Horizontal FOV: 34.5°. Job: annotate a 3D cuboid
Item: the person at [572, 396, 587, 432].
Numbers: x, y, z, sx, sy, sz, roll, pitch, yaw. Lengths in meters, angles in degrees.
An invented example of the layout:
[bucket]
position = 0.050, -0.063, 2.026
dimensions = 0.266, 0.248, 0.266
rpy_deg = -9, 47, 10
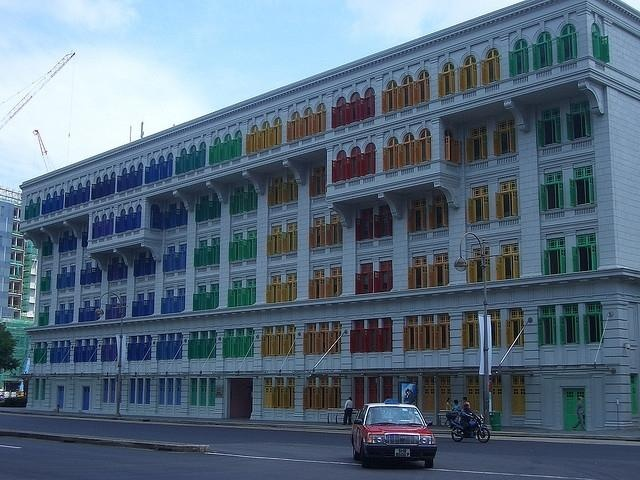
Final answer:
[person]
position = 16.188, 10.688, 64.262
dimensions = 0.714, 2.247, 1.399
rpy_deg = -1, -18, 2

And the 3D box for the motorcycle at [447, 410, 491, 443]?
[motorcycle]
position = 8.205, 10.319, 56.856
dimensions = 2.359, 1.419, 0.981
rpy_deg = -7, -20, 30
